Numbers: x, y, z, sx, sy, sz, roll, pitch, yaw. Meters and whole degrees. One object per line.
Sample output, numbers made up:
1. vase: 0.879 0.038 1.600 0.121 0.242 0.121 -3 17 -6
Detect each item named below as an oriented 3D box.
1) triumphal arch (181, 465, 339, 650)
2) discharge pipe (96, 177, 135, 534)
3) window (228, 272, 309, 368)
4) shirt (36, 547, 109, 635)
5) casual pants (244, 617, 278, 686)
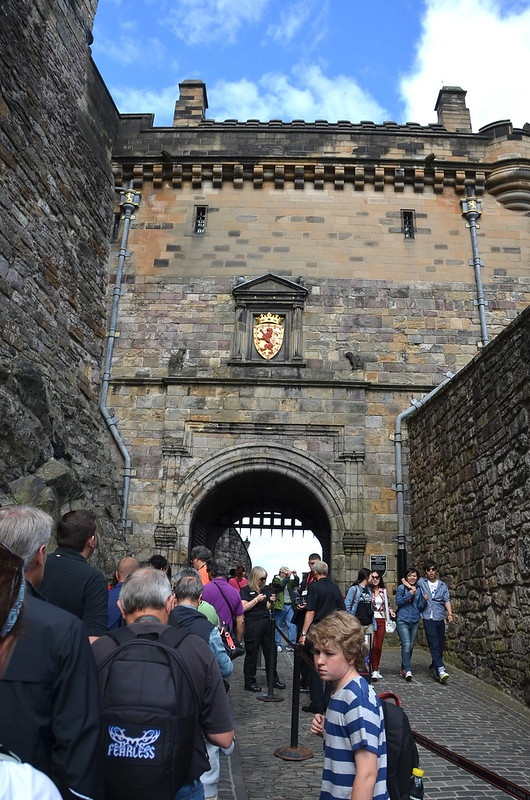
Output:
1. triumphal arch: -0.228 2.918 12.084 3.579 3.027 2.443 -14 7 -12
2. discharge pipe: -2.865 -1.336 10.848 0.854 7.931 0.677 -13 -21 32
3. window: 0.124 -1.687 10.953 1.609 2.184 0.299 1 -23 2
4. shirt: -0.930 0.871 2.533 0.414 0.381 0.209 19 25 18
5. casual pants: -0.047 2.965 6.158 0.315 0.892 0.283 -2 -4 -17
